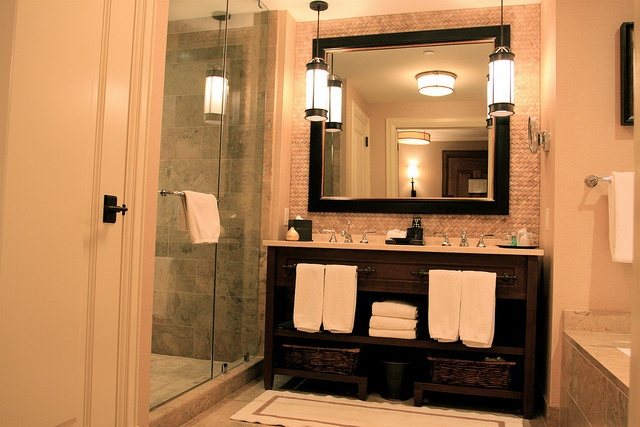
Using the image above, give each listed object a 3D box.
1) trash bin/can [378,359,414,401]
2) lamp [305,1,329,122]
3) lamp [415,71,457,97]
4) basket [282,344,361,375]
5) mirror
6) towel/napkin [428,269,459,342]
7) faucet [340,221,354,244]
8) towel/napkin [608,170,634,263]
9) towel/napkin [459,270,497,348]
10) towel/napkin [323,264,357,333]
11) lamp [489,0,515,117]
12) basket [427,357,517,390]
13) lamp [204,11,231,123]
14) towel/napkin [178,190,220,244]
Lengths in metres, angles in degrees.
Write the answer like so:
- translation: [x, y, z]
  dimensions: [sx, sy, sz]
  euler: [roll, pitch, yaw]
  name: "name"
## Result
- translation: [0.536, 1.235, 3.874]
  dimensions: [0.325, 0.244, 0.286]
  euler: [9, -21, -17]
  name: "trash bin/can"
- translation: [-0.015, -1.211, 4.220]
  dimensions: [0.174, 0.952, 0.487]
  euler: [1, 2, 0]
  name: "lamp"
- translation: [1.022, -1.069, 4.315]
  dimensions: [0.238, 0.077, 0.223]
  euler: [10, -1, -26]
  name: "lamp"
- translation: [0.016, 1.023, 3.813]
  dimensions: [0.371, 0.120, 0.253]
  euler: [-1, -9, 14]
  name: "basket"
- translation: [0.783, -0.729, 4.243]
  dimensions: [1.735, 1.522, 0.072]
  euler: [0, 2, 16]
  name: "mirror"
- translation: [0.841, 0.623, 3.555]
  dimensions: [0.302, 0.416, 0.111]
  euler: [0, -5, 14]
  name: "towel/napkin"
- translation: [0.231, 0.139, 4.309]
  dimensions: [0.092, 0.174, 0.154]
  euler: [1, 2, -3]
  name: "faucet"
- translation: [1.866, 0.018, 3.289]
  dimensions: [0.127, 0.553, 0.074]
  euler: [2, 2, 15]
  name: "towel/napkin"
- translation: [1.041, 0.634, 3.511]
  dimensions: [0.217, 0.487, 0.086]
  euler: [1, 2, 13]
  name: "towel/napkin"
- translation: [0.145, 0.605, 3.748]
  dimensions: [0.268, 0.466, 0.067]
  euler: [0, -7, 39]
  name: "towel/napkin"
- translation: [1.348, -1.185, 3.936]
  dimensions: [0.175, 0.923, 0.378]
  euler: [2, 2, 17]
  name: "lamp"
- translation: [1.044, 1.082, 3.661]
  dimensions: [0.417, 0.127, 0.270]
  euler: [-1, -11, 13]
  name: "basket"
- translation: [-0.715, -0.979, 3.739]
  dimensions: [0.070, 0.700, 0.253]
  euler: [2, 2, 21]
  name: "lamp"
- translation: [-0.789, 0.022, 3.447]
  dimensions: [0.149, 0.376, 0.381]
  euler: [0, -2, 28]
  name: "towel/napkin"
